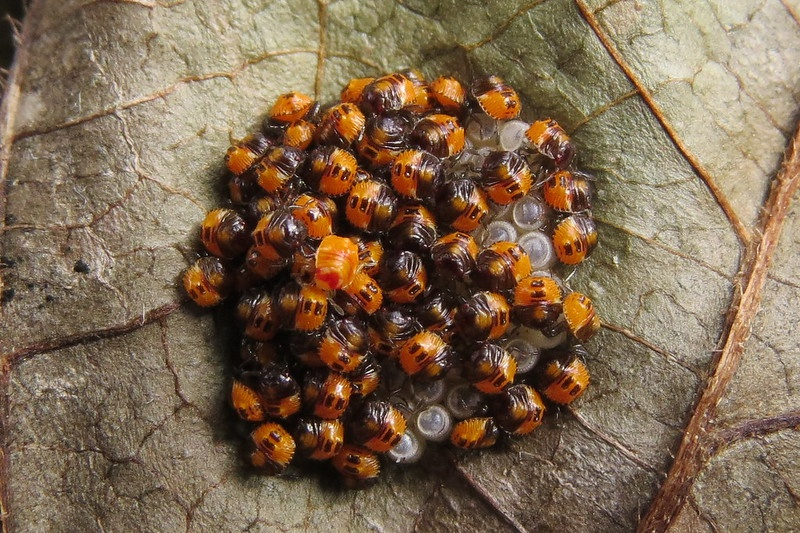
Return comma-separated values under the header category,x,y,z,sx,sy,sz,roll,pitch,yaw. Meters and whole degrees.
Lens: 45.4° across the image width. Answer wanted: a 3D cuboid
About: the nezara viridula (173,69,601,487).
category,x,y,z,sx,sy,sz,roll,pitch,yaw
nezara viridula,-0.078,0.024,7.323,3.129,0.937,3.162,-38,95,-2
